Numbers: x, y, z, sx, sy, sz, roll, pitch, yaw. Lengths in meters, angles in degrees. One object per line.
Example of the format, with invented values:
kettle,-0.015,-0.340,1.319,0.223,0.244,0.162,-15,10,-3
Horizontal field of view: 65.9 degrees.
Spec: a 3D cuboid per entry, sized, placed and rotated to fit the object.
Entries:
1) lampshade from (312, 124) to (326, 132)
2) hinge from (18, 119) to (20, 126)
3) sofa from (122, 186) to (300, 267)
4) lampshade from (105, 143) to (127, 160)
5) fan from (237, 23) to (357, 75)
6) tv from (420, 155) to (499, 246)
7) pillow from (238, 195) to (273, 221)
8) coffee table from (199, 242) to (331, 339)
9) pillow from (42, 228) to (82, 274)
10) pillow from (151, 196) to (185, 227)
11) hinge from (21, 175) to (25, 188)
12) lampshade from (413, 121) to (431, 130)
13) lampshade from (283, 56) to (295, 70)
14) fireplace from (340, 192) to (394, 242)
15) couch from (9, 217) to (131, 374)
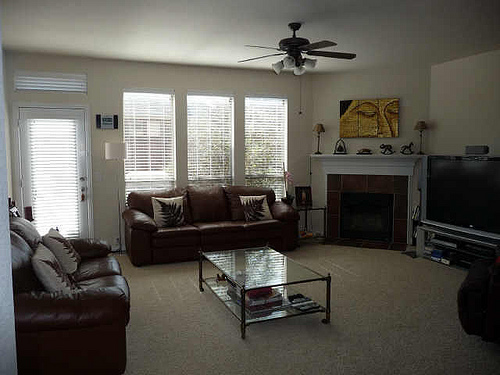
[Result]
lampshade,1.299,-1.085,7.262,0.150,0.156,0.161,1,-1,-7
hinge,-3.515,-0.978,5.867,0.019,0.103,0.029,-3,8,-18
sofa,-0.598,0.544,6.453,2.748,1.157,1.081,-2,2,-24
lampshade,-2.120,-0.562,6.103,0.352,0.263,0.259,-1,8,-5
fan,0.574,-1.679,4.616,1.333,0.544,1.278,-4,9,-21
tv,3.061,0.201,5.568,0.269,1.597,1.324,0,-1,-30
pillow,0.076,0.278,6.594,0.585,0.625,0.239,-1,13,17
coffee table,0.229,1.061,4.387,1.229,0.518,1.446,-4,9,-25
pillow,-2.007,0.688,4.164,0.297,0.474,0.537,-7,10,-22
pillow,-1.303,0.399,6.142,0.551,0.540,0.213,1,-10,-18
hinge,-3.477,-0.081,5.917,0.057,0.195,0.018,-5,9,-31
lampshade,2.917,-1.039,6.524,0.269,0.151,0.315,3,9,23
lampshade,0.462,-1.474,4.535,0.138,0.142,0.188,0,8,5
fireplace,2.172,0.548,7.016,0.837,0.771,0.287,0,-1,24
couch,-1.527,0.920,3.266,0.583,0.642,1.275,0,6,-21
